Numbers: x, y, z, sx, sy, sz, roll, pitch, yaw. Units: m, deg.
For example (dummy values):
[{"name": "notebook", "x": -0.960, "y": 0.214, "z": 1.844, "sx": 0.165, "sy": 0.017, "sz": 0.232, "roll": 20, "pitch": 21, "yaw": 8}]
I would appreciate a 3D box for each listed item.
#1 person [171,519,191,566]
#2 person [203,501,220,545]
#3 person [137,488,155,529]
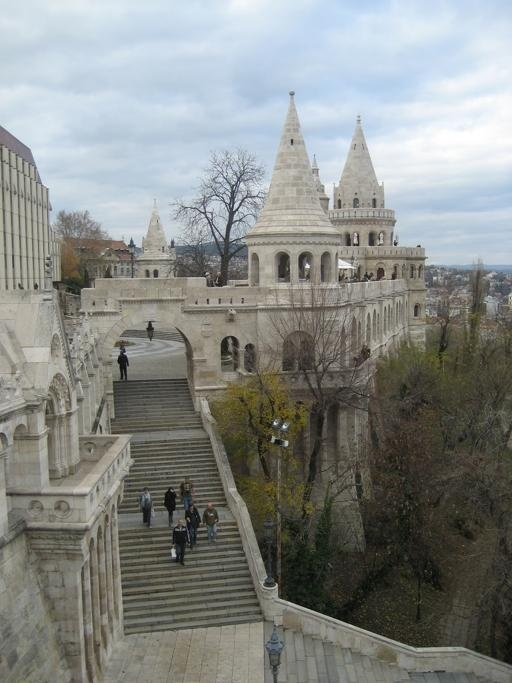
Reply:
[{"name": "person", "x": -1.923, "y": 5.105, "z": 16.628, "sx": 0.485, "sy": 1.206, "sz": 0.473, "roll": -7, "pitch": 15, "yaw": -31}, {"name": "person", "x": -1.221, "y": 4.775, "z": 17.651, "sx": 0.413, "sy": 1.184, "sz": 1.060, "roll": 0, "pitch": 13, "yaw": -3}, {"name": "person", "x": -3.017, "y": 4.511, "z": 17.777, "sx": 0.364, "sy": 1.441, "sz": 0.896, "roll": -1, "pitch": 13, "yaw": -11}]
